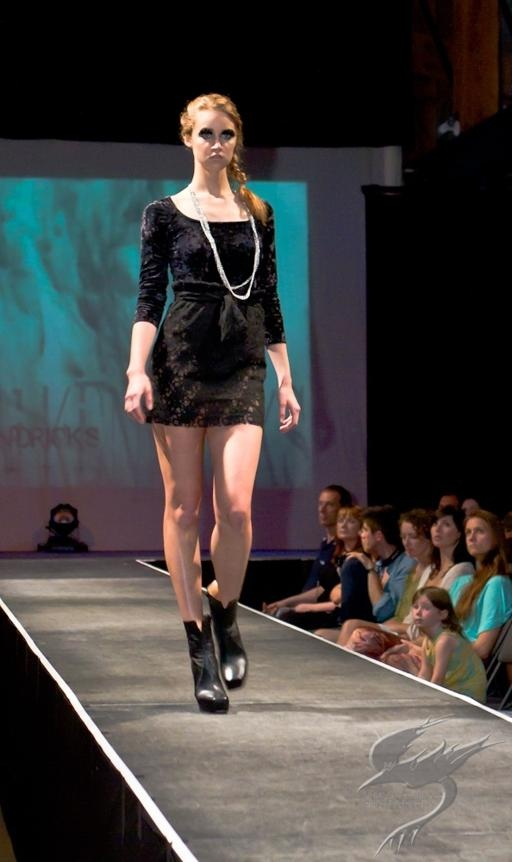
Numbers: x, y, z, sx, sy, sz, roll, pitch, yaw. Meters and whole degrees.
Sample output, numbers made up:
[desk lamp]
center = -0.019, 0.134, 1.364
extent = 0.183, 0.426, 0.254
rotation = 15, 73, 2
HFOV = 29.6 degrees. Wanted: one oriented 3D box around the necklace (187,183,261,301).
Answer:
[necklace]
center = -0.053, -0.372, 1.959
extent = 0.048, 0.224, 0.137
rotation = -13, 3, 40
